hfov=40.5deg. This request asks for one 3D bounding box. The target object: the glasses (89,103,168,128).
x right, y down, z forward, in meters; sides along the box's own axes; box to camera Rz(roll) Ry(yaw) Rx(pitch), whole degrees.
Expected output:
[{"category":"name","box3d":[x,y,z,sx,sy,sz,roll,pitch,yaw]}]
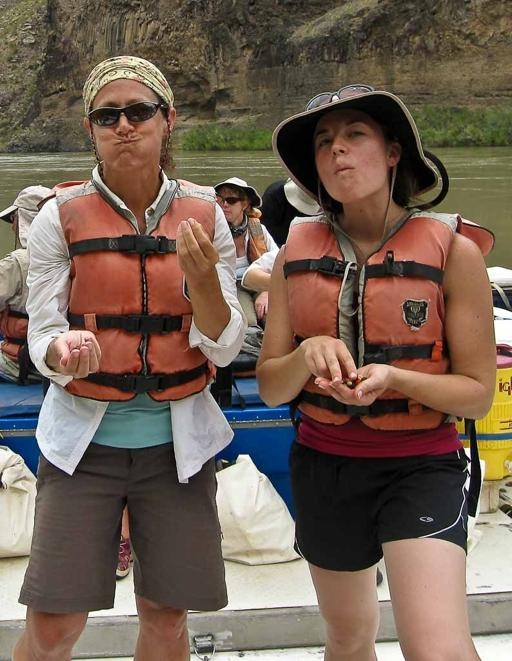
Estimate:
[{"category":"glasses","box3d":[-0.296,-0.484,1.563,0.156,0.059,0.060,-1,13,-8]}]
